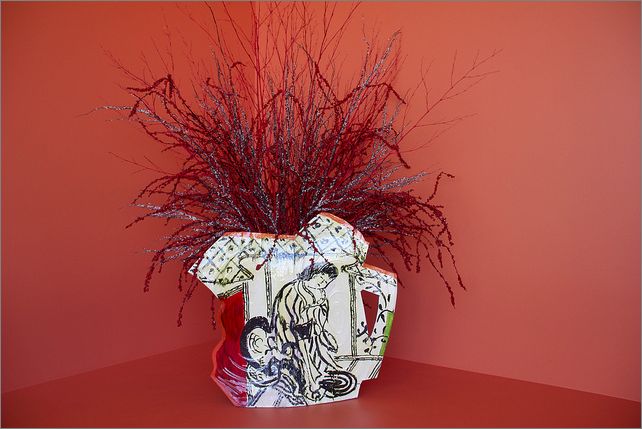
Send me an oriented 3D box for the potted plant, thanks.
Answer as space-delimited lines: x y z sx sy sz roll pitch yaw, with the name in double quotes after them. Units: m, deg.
0.054 -0.206 2.845 1.808 2.159 1.495 0 -9 -6 "potted plant"
